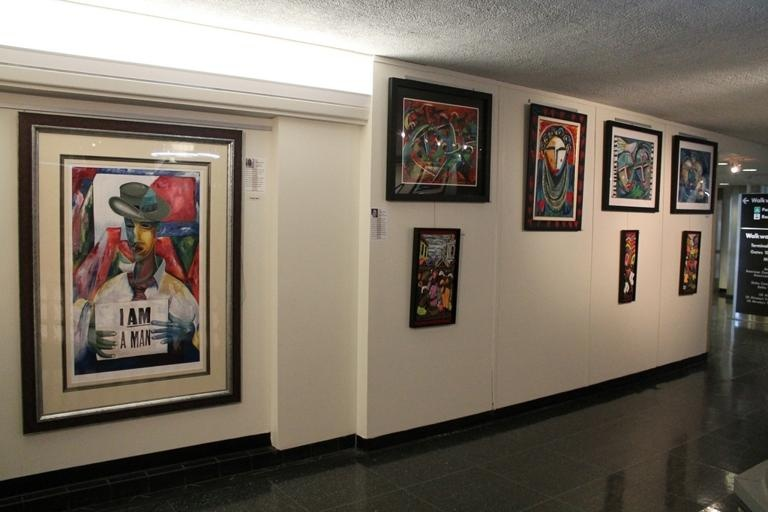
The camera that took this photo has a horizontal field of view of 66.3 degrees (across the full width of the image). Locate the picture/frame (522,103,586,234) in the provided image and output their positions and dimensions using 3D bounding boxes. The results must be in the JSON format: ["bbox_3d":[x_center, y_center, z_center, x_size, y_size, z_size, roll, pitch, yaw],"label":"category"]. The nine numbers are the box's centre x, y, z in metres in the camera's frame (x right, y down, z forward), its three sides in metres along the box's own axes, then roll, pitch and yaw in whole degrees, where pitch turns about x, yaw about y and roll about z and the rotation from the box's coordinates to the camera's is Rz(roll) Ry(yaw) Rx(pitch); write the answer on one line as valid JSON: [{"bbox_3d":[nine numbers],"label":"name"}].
[{"bbox_3d":[2.123,-1.090,7.343,1.075,1.563,0.215,-5,11,-32],"label":"picture/frame"}]

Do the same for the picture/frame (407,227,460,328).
[{"bbox_3d":[0.545,0.229,6.522,0.639,1.105,0.154,-5,11,-30],"label":"picture/frame"}]

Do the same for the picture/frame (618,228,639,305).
[{"bbox_3d":[3.414,0.141,8.249,0.482,1.029,0.130,-8,13,-41],"label":"picture/frame"}]

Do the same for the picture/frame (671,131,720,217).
[{"bbox_3d":[4.785,-1.285,9.106,1.306,1.049,0.101,-12,14,-40],"label":"picture/frame"}]

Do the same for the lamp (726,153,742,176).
[{"bbox_3d":[6.552,-1.738,11.006,0.234,0.416,0.231,-12,11,-32],"label":"lamp"}]

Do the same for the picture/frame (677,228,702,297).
[{"bbox_3d":[4.751,0.068,9.181,0.100,1.338,1.088,1,3,40],"label":"picture/frame"}]
